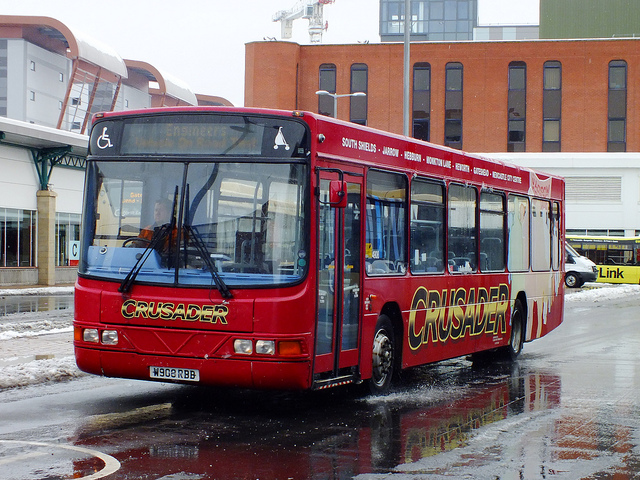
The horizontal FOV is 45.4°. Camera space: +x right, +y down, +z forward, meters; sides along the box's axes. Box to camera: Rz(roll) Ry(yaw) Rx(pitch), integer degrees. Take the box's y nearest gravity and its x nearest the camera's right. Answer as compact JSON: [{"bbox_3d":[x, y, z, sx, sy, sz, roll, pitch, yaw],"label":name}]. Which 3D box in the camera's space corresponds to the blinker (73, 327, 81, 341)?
[{"bbox_3d":[-3.074,1.163,9.624,0.134,0.155,0.132,2,-4,-22],"label":"blinker"}]

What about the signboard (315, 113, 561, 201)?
[{"bbox_3d":[2.714,-1.292,14.236,0.206,0.661,12.480,-4,-1,27],"label":"signboard"}]

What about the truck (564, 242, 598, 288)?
[{"bbox_3d":[15.404,1.650,45.318,1.675,2.022,1.203,-2,-1,22],"label":"truck"}]
